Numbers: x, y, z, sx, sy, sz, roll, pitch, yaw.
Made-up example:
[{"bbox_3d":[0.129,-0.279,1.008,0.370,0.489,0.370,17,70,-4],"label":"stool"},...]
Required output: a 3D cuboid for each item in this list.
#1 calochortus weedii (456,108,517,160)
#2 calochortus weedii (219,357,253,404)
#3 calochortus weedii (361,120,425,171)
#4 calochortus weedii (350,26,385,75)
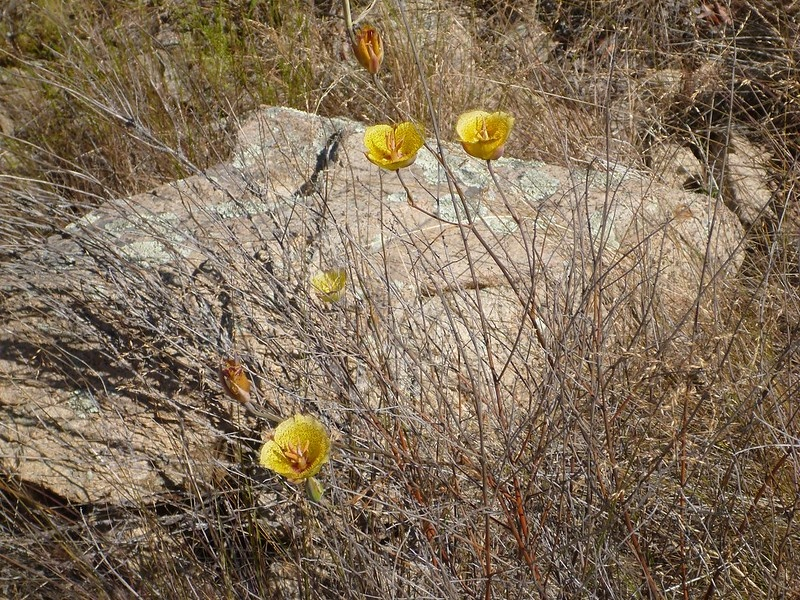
[{"bbox_3d":[0.275,-0.496,2.798,0.158,0.197,0.150,-1,105,-22],"label":"calochortus weedii"},{"bbox_3d":[-0.496,0.245,2.636,0.087,0.042,0.134,-26,101,-18],"label":"calochortus weedii"},{"bbox_3d":[-0.021,-0.519,2.919,0.185,0.128,0.204,2,75,-5],"label":"calochortus weedii"},{"bbox_3d":[-0.103,-0.832,2.911,0.076,0.093,0.194,-20,103,-28],"label":"calochortus weedii"}]
